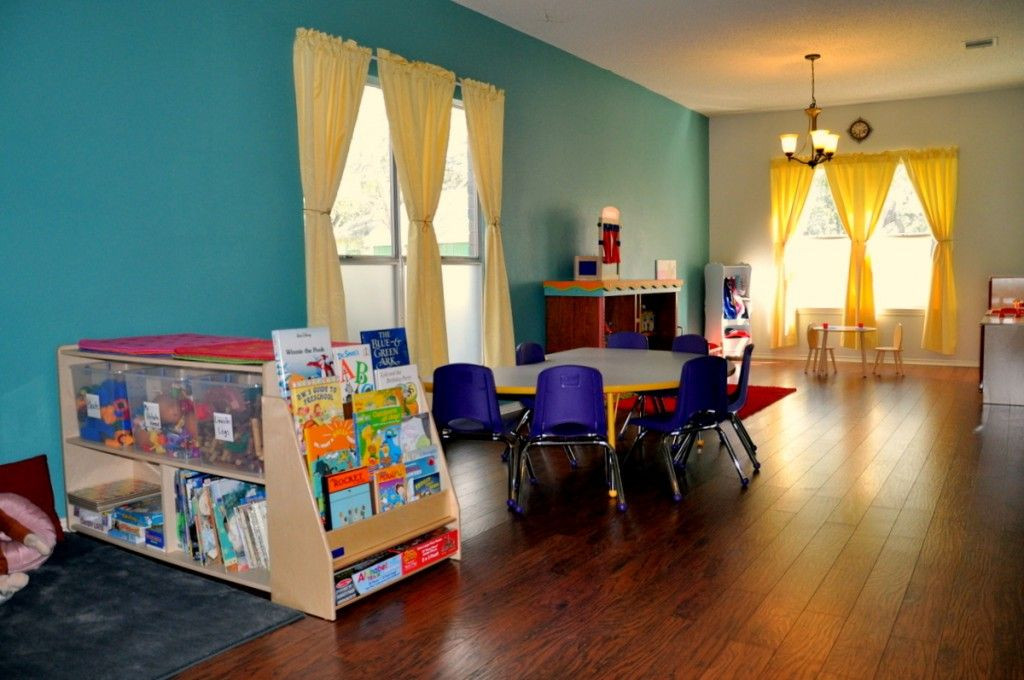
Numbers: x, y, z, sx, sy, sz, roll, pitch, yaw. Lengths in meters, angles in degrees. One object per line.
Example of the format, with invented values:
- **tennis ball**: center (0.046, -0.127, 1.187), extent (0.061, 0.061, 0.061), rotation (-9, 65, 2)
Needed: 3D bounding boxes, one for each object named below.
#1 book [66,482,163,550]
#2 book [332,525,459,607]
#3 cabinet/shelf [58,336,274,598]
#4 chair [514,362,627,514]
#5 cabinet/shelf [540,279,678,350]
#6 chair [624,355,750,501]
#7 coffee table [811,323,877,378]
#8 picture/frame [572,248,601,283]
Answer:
- **book**: center (-2.375, 1.045, 4.139), extent (0.431, 0.127, 0.457), rotation (8, 8, 17)
- **book**: center (-0.627, 1.219, 3.619), extent (0.247, 0.119, 0.448), rotation (-9, 2, 41)
- **cabinet/shelf**: center (-1.931, 0.717, 3.825), extent (1.235, 0.937, 0.497), rotation (3, 6, 30)
- **chair**: center (0.371, 0.579, 4.875), extent (0.915, 1.316, 0.913), rotation (-1, 11, 1)
- **cabinet/shelf**: center (1.298, -0.203, 8.246), extent (0.606, 1.063, 1.796), rotation (7, 9, 42)
- **chair**: center (1.390, 0.560, 5.230), extent (0.982, 1.029, 1.366), rotation (2, 8, 20)
- **coffee table**: center (4.879, 0.093, 10.117), extent (0.888, 0.722, 0.935), rotation (-3, 4, -44)
- **picture/frame**: center (0.881, -0.823, 7.674), extent (0.276, 0.287, 0.281), rotation (6, 11, 32)
